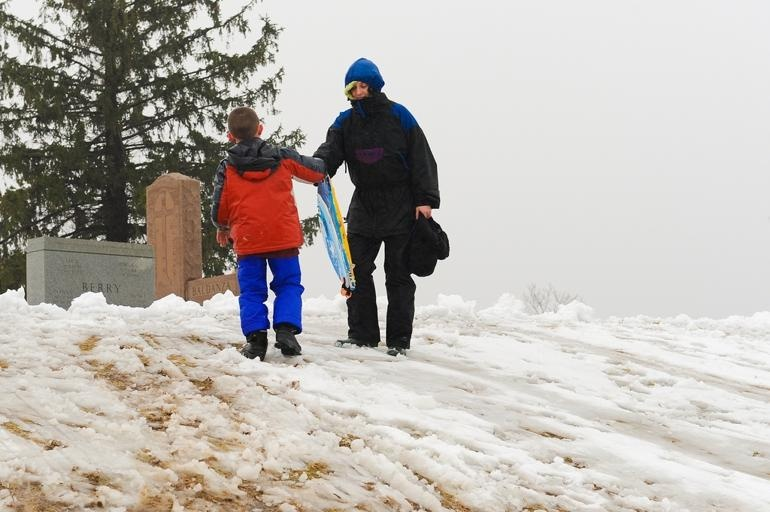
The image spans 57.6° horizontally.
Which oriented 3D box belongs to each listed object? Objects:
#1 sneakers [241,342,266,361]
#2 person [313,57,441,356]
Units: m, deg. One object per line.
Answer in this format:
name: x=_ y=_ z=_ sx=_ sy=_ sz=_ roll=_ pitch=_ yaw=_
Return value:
sneakers: x=-1.185 y=0.873 z=6.341 sx=0.231 sy=0.218 sz=0.121 roll=6 pitch=-9 yaw=22
person: x=-0.079 y=-0.524 z=7.175 sx=1.215 sy=2.927 sz=0.444 roll=11 pitch=8 yaw=15
